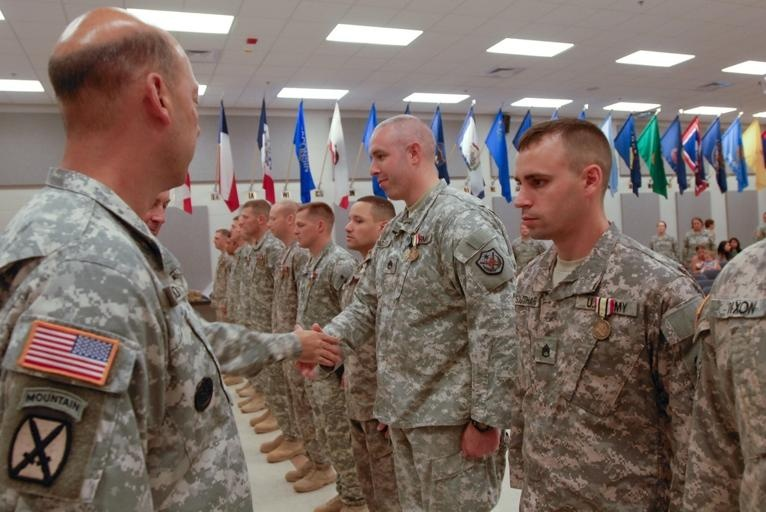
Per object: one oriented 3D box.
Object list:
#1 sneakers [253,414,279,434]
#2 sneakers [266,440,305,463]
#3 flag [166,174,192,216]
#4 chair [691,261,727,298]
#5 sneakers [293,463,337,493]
[{"bbox_3d":[-0.976,1.414,5.724,0.120,0.139,0.333,-9,-9,30],"label":"sneakers"},{"bbox_3d":[-0.727,1.440,5.004,0.262,0.103,0.122,0,-5,-31],"label":"sneakers"},{"bbox_3d":[-2.975,-0.983,10.000,0.190,0.932,0.129,-2,-40,-13],"label":"flag"},{"bbox_3d":[2.510,0.155,5.222,0.270,0.224,0.253,-3,9,-14],"label":"chair"},{"bbox_3d":[-0.451,1.451,4.457,0.314,0.215,0.117,-2,-5,-24],"label":"sneakers"}]
